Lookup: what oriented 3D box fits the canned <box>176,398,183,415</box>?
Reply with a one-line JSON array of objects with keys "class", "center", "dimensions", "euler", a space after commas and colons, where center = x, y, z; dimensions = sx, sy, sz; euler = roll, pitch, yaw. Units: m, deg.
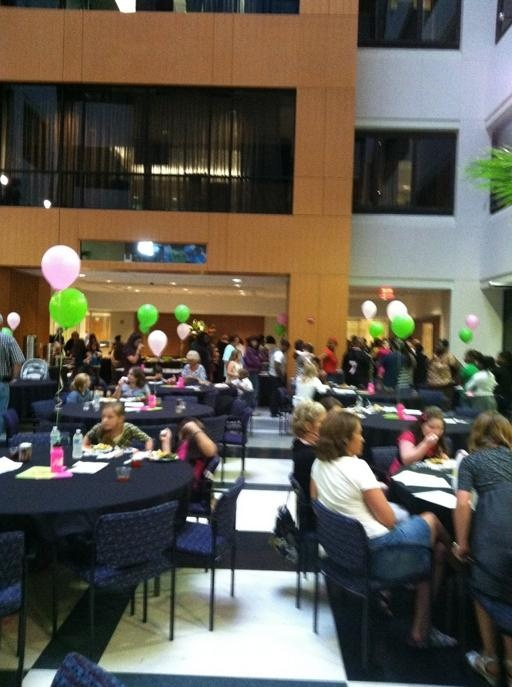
[{"class": "canned", "center": [-0.775, 0.643, 5.972], "dimensions": [0.062, 0.133, 0.119], "euler": [1, 2, 5]}]

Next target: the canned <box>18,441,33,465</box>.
[{"class": "canned", "center": [-1.424, 0.681, 3.669], "dimensions": [0.102, 0.173, 0.101], "euler": [0, 2, -12]}]

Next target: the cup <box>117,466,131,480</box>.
[{"class": "cup", "center": [-0.731, 0.700, 3.206], "dimensions": [0.058, 0.062, 0.071], "euler": [1, -2, -8]}]

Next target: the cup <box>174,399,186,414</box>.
[{"class": "cup", "center": [-0.766, 0.647, 6.004], "dimensions": [0.133, 0.158, 0.079], "euler": [-1, 3, -41]}]

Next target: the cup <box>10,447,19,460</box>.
[{"class": "cup", "center": [-1.479, 0.672, 3.594], "dimensions": [0.053, 0.073, 0.061], "euler": [0, -9, -5]}]

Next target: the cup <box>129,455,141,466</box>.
[{"class": "cup", "center": [-0.739, 0.717, 3.586], "dimensions": [0.049, 0.057, 0.047], "euler": [0, 1, 0]}]
